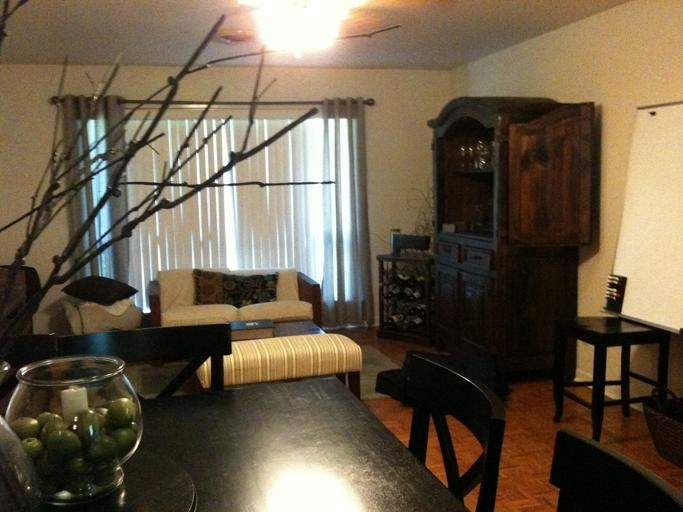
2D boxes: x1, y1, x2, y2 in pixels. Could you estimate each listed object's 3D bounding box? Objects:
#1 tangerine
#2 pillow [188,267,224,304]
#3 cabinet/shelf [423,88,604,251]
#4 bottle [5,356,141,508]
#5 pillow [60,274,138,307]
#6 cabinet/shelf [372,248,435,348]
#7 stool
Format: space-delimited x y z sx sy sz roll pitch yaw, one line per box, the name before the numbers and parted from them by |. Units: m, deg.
tangerine | -0.579 0.421 1.249 0.240 0.187 0.090 -5 8 -23
pillow | -1.268 0.301 5.418 0.316 0.293 0.096 -1 -11 -9
cabinet/shelf | 1.354 -0.650 4.377 0.528 1.192 1.416 -2 5 -18
bottle | -0.573 0.386 1.372 0.287 0.268 0.327 0 -2 15
pillow | -2.084 0.303 4.963 0.355 0.163 0.346 6 12 -41
cabinet/shelf | 0.682 0.376 5.735 0.609 0.847 0.660 0 8 23
stool | -2.142 0.458 4.905 0.788 0.473 0.773 -2 8 -36
